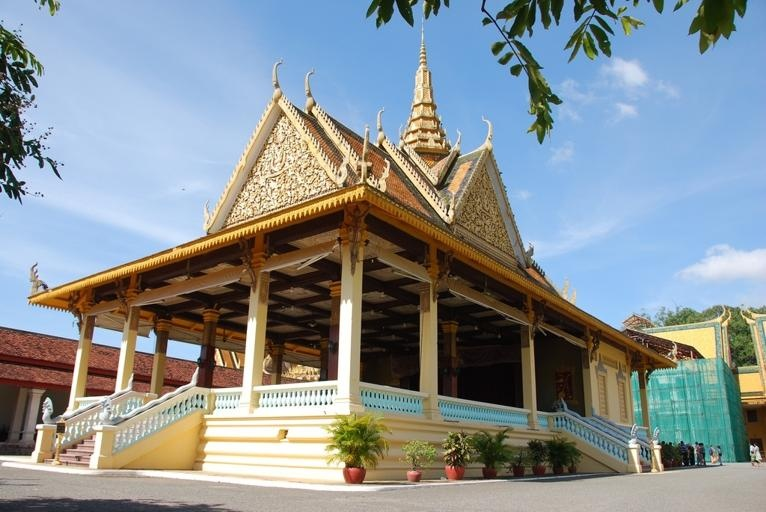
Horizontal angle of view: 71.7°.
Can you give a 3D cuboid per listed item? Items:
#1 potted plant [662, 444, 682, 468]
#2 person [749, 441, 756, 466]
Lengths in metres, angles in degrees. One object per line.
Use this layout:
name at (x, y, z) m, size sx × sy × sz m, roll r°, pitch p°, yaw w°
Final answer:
potted plant at (12.833, 8.839, 23.622) m, size 0.510 × 1.054 × 2.984 m, roll -13°, pitch -27°, yaw 28°
person at (20.256, 10.906, 29.060) m, size 0.309 × 1.014 × 1.682 m, roll -14°, pitch -28°, yaw 30°
